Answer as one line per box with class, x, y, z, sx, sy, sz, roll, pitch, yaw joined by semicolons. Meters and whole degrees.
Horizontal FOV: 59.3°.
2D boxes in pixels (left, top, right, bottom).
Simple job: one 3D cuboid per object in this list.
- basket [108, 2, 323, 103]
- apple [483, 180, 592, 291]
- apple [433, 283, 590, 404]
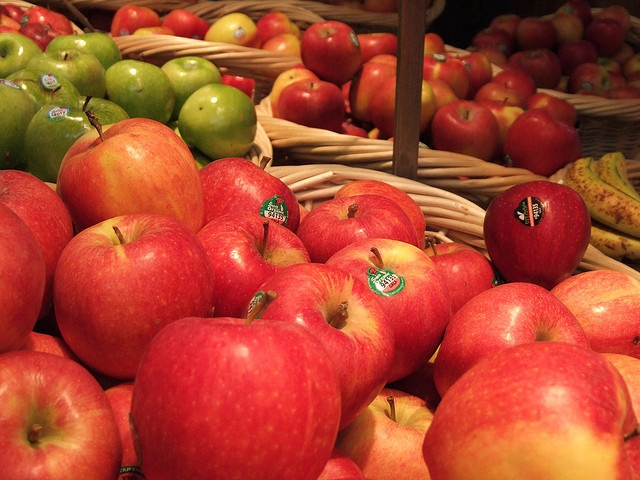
basket;-0.451;-0.727;2.177;0.595;0.276;0.659;5;21;-9
apple;0.491;-0.015;1.371;0.218;0.243;0.280;0;89;-1
apple;0.347;0.153;1.028;0.202;0.229;0.232;15;51;29
